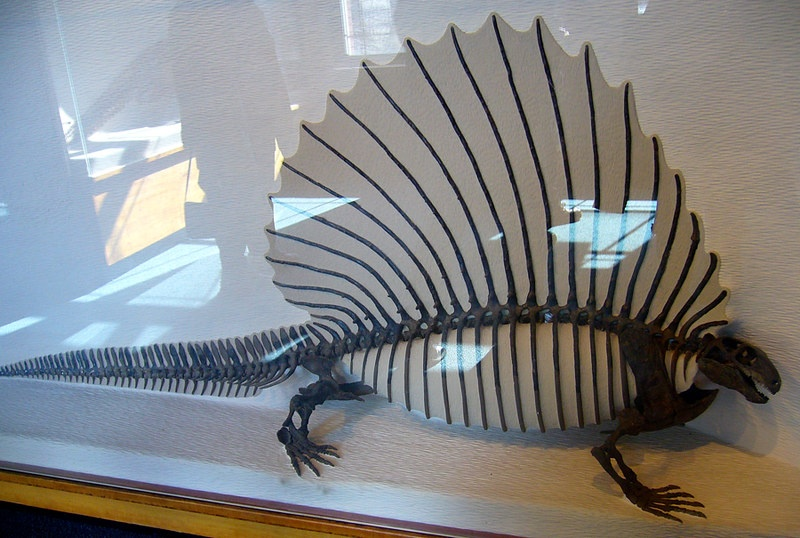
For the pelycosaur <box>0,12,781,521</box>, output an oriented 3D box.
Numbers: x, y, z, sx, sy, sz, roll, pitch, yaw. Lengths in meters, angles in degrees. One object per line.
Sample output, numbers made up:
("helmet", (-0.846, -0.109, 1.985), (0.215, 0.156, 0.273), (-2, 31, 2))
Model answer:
("pelycosaur", (0.221, -0.077, 1.347), (1.117, 0.717, 0.597), (5, 50, 12))
